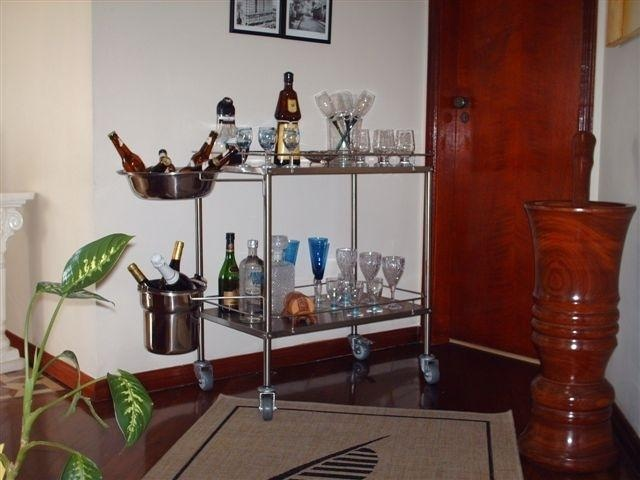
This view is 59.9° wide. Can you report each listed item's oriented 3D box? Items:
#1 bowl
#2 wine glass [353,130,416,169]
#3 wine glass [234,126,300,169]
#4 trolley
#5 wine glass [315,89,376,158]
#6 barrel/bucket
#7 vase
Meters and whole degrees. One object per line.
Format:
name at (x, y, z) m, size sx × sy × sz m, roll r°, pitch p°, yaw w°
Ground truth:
bowl at (-0.622, -0.219, 2.290) m, size 0.373 × 0.120 × 0.165 m, roll -2°, pitch 9°, yaw -14°
wine glass at (0.301, -0.433, 2.659) m, size 0.253 × 0.122 × 0.078 m, roll -1°, pitch 11°, yaw -10°
wine glass at (-0.232, -0.386, 2.476) m, size 0.216 × 0.255 × 0.221 m, roll 1°, pitch 2°, yaw 10°
trolley at (-0.150, 0.195, 2.637) m, size 1.443 × 1.108 × 0.651 m, roll -4°, pitch 6°, yaw -38°
wine glass at (0.110, -0.603, 2.786) m, size 0.339 × 0.370 × 0.360 m, roll 0°, pitch 2°, yaw -2°
barrel/bucket at (-0.627, 0.317, 2.389) m, size 0.274 × 0.325 × 0.274 m, roll 3°, pitch 8°, yaw 0°
vase at (0.930, 0.363, 2.057) m, size 0.364 × 0.975 × 0.186 m, roll 3°, pitch 9°, yaw 20°
